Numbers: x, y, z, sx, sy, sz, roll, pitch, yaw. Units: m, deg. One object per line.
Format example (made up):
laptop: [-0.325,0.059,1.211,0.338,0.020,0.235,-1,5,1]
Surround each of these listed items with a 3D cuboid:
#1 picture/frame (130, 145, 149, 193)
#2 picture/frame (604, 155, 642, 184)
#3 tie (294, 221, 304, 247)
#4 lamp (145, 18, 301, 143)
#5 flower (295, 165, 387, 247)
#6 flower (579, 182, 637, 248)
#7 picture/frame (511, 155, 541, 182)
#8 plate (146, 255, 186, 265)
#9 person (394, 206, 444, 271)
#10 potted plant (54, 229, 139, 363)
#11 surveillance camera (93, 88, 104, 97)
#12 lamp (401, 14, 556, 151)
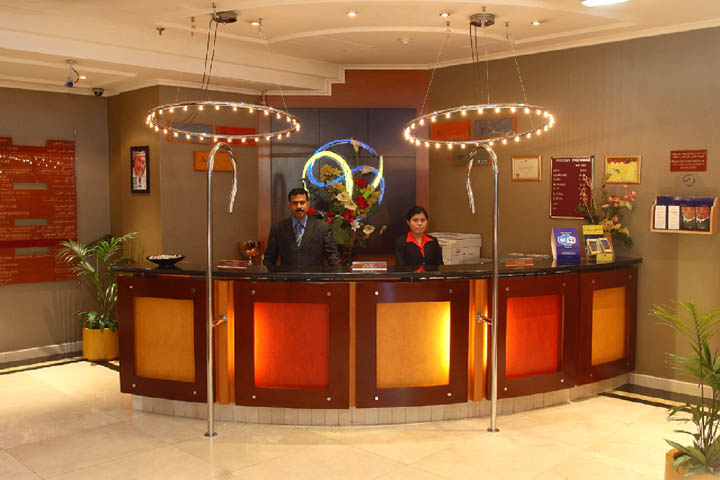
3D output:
picture/frame: [-3.313,-1.079,8.290,0.703,1.017,0.045,2,3,42]
picture/frame: [3.456,-0.925,7.210,0.362,0.345,0.026,6,6,35]
tie: [-0.781,-0.081,7.107,0.128,0.289,0.099,-2,9,-8]
lamp: [-2.005,-2.207,7.557,1.426,1.592,1.454,25,35,10]
flower: [-0.220,-0.507,8.403,1.293,1.453,1.185,3,-14,-25]
flower: [3.236,-0.312,7.236,0.683,0.823,0.413,3,9,22]
picture/frame: [2.389,-1.028,7.874,0.389,0.336,0.028,4,6,38]
plate: [-2.236,0.235,6.357,0.355,0.104,0.277,-1,9,-7]
person: [0.700,-0.013,6.565,0.560,0.709,0.786,1,9,6]
potted plant: [-3.930,0.826,8.387,0.973,1.798,1.215,-7,11,-36]
surveillance camera: [-4.026,-2.266,8.482,0.131,0.089,0.131,0,-2,-8]
lamp: [1.401,-2.030,6.725,1.929,1.380,1.839,-15,25,-17]
